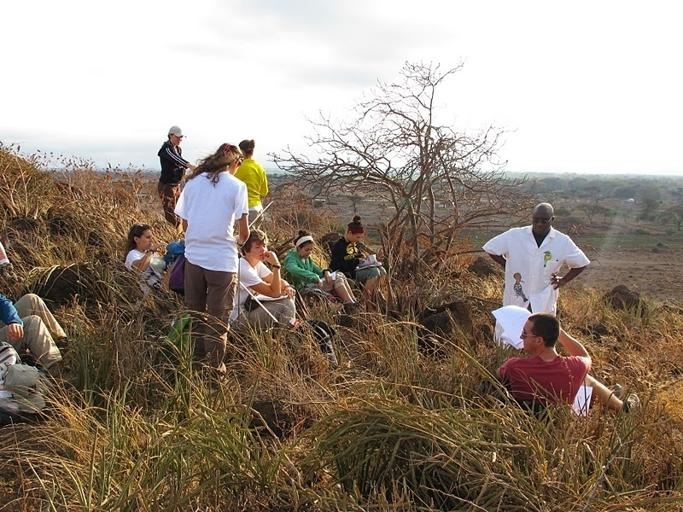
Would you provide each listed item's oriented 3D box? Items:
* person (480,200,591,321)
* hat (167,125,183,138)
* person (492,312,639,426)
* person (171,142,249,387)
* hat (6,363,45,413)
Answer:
[{"bbox_3d":[2.465,0.027,5.870,1.177,1.391,0.515,10,11,21],"label":"person"},{"bbox_3d":[-2.974,-2.215,8.287,0.190,0.179,0.502,2,11,-26],"label":"hat"},{"bbox_3d":[1.857,0.890,4.100,0.637,0.773,1.618,-9,6,14],"label":"person"},{"bbox_3d":[-1.377,-0.070,5.098,0.758,2.276,0.883,6,7,1],"label":"person"},{"bbox_3d":[-2.741,1.156,3.973,0.229,0.315,0.307,-13,31,-20],"label":"hat"}]
